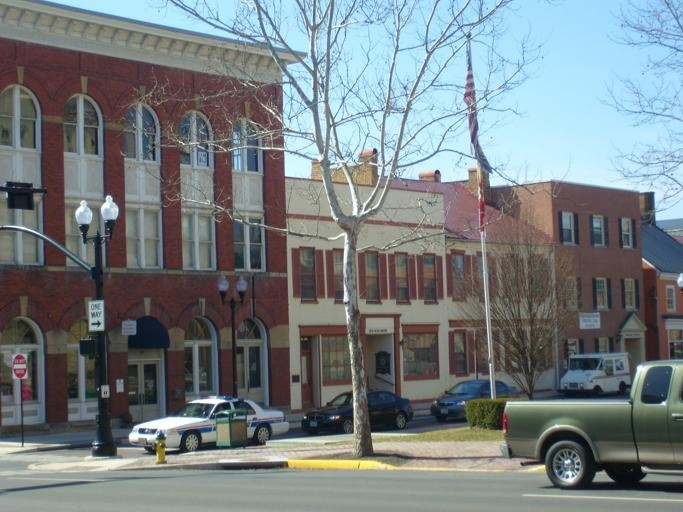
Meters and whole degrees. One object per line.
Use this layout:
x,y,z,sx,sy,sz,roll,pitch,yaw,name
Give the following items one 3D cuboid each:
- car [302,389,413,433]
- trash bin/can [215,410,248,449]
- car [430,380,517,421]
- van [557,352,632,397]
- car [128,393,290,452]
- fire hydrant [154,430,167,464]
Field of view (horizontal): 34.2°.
0.719,6.262,44.689,2.109,1.699,5.031,-7,-7,43,car
-3.773,5.912,37.963,1.120,1.233,1.162,-6,-7,15,trash bin/can
5.942,6.326,49.074,1.984,1.621,4.665,-5,-5,41,car
13.319,6.268,58.542,2.501,2.209,4.167,-1,0,42,van
-4.581,5.579,38.732,3.887,2.213,5.338,-11,-14,39,car
-5.748,6.080,35.282,0.336,1.063,1.592,-1,-9,-10,fire hydrant
